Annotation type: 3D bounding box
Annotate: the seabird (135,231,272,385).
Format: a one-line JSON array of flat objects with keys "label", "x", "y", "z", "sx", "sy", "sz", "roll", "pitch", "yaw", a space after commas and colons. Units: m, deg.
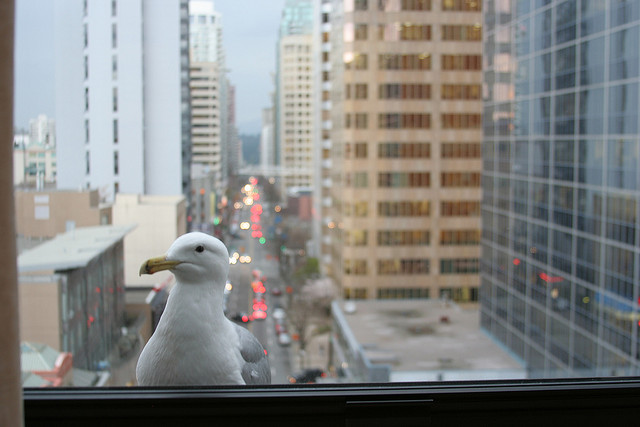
[{"label": "seabird", "x": -0.373, "y": 0.319, "z": 3.475, "sx": 0.448, "sy": 0.490, "sz": 0.197, "roll": 1, "pitch": -9, "yaw": -8}]
